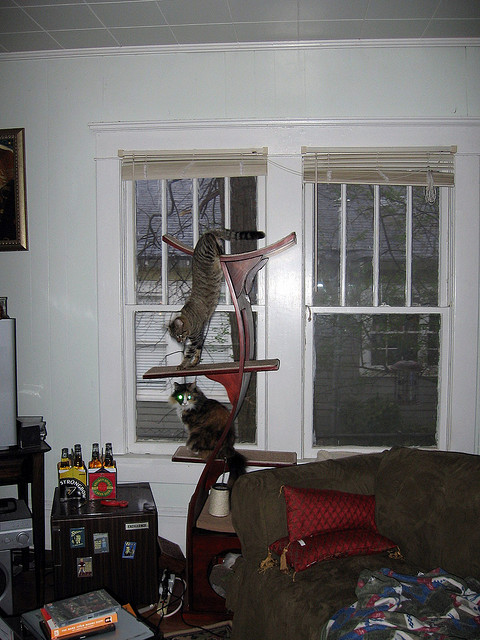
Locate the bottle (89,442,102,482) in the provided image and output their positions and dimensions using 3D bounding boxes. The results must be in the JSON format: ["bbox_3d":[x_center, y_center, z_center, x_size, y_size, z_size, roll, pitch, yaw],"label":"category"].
[{"bbox_3d":[-0.679,0.667,3.263,0.062,0.168,0.060,-3,3,0],"label":"bottle"}]

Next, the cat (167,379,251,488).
[{"bbox_3d":[-0.143,0.590,3.566,0.237,0.261,0.702,10,19,-44],"label":"cat"}]

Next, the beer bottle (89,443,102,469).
[{"bbox_3d":[-0.680,0.638,3.259,0.055,0.111,0.059,-3,3,0],"label":"beer bottle"}]

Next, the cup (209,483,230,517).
[{"bbox_3d":[-0.096,0.829,3.206,0.122,0.122,0.119,3,-2,0],"label":"cup"}]

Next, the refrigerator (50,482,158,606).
[{"bbox_3d":[-0.586,0.979,3.286,0.571,0.584,0.436,1,2,-6],"label":"refrigerator"}]

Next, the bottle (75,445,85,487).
[{"bbox_3d":[-0.753,0.678,3.265,0.045,0.188,0.058,-4,4,-14],"label":"bottle"}]
